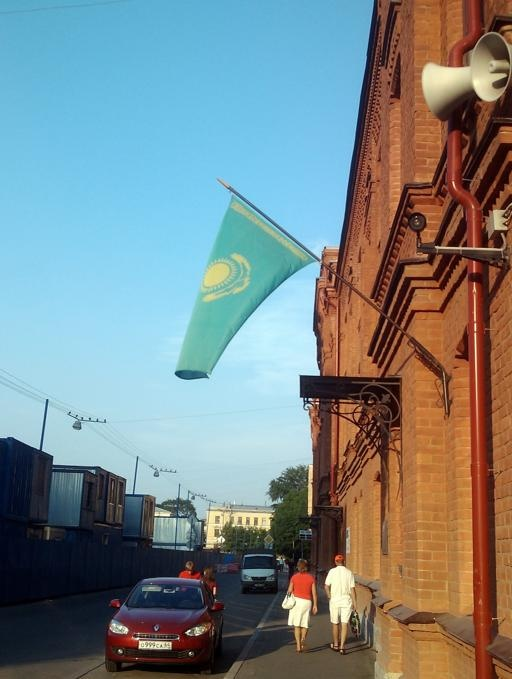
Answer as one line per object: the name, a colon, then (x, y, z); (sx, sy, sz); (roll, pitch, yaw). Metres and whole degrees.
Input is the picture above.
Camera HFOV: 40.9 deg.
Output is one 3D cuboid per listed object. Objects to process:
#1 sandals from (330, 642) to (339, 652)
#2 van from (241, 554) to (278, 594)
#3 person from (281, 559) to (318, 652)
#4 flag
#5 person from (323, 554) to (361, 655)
sandals: (1.443, 5.718, 12.827); (0.076, 0.102, 0.249); (3, -3, -2)
van: (0.167, 12.727, 37.501); (1.928, 1.958, 2.637); (2, -19, -1)
person: (0.794, 4.747, 12.509); (0.663, 1.790, 0.727); (0, -9, 4)
flag: (-0.220, -0.686, 8.498); (1.431, 2.320, 0.279); (-4, -19, 17)
person: (1.587, 4.978, 12.917); (0.610, 1.764, 0.715); (-1, -6, 8)
